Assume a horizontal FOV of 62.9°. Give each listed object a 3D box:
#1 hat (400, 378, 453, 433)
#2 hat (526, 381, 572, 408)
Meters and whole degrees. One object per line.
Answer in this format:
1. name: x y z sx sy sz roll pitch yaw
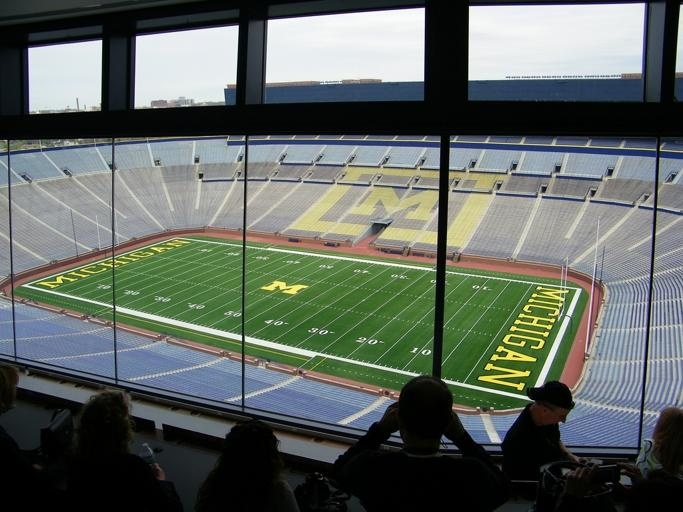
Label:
1. hat: 0.256 0.450 1.677 0.164 0.179 0.147 6 -6 8
2. hat: 0.786 0.514 2.078 0.157 0.097 0.157 2 -6 30
